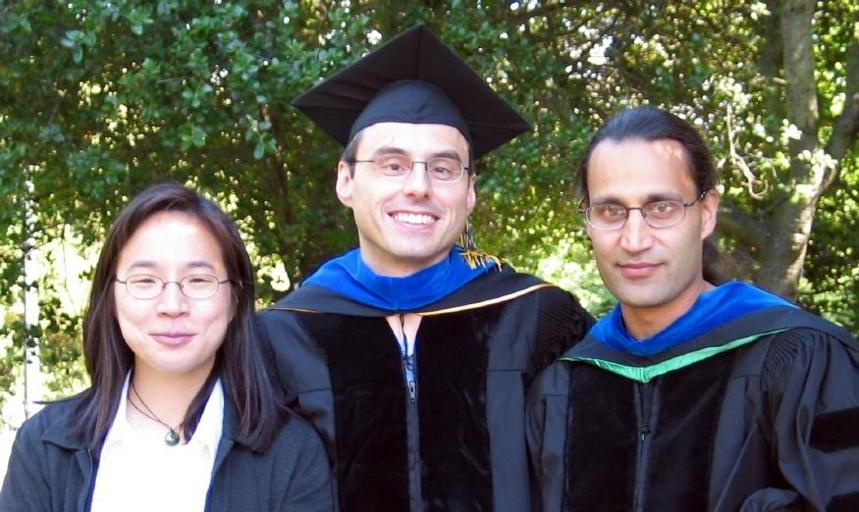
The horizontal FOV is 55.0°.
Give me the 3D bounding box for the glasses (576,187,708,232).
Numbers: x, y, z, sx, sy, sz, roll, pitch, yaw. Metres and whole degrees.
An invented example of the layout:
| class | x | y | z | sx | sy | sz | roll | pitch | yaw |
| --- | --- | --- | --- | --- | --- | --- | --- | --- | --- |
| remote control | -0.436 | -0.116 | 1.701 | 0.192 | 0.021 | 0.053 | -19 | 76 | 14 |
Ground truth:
| class | x | y | z | sx | sy | sz | roll | pitch | yaw |
| --- | --- | --- | --- | --- | --- | --- | --- | --- | --- |
| glasses | 1.268 | -0.258 | 4.758 | 0.707 | 0.222 | 0.126 | -4 | -16 | 5 |
